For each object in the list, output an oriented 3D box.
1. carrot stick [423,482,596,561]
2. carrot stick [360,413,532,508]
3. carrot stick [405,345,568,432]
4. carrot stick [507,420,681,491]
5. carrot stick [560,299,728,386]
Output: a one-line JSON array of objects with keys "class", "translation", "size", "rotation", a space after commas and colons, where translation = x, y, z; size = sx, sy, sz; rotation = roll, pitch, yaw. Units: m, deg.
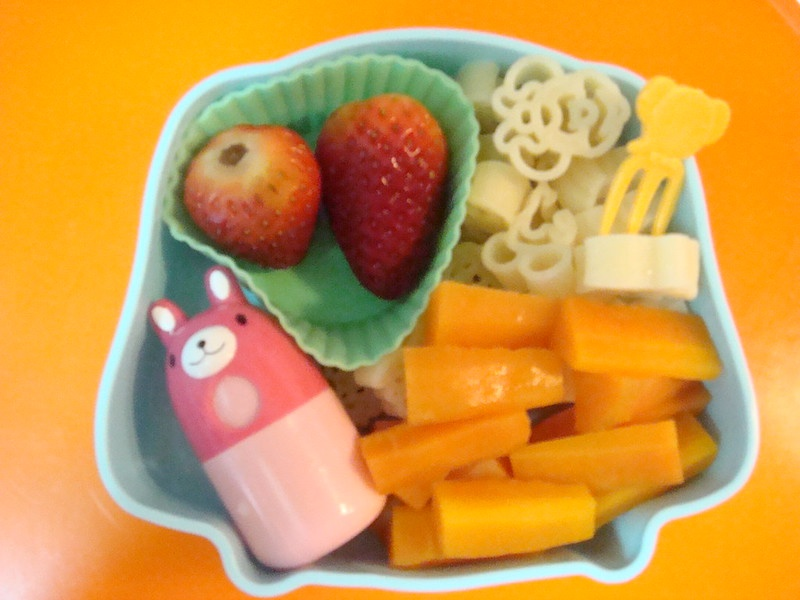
[{"class": "carrot stick", "translation": [0.244, 0.466, 1.892], "size": [0.339, 0.072, 0.160], "rotation": [-1, 78, -2]}, {"class": "carrot stick", "translation": [0.095, 0.323, 1.909], "size": [0.412, 0.173, 0.249], "rotation": [-6, 25, -12]}, {"class": "carrot stick", "translation": [0.183, 0.175, 1.908], "size": [0.340, 0.050, 0.160], "rotation": [-4, 79, -3]}, {"class": "carrot stick", "translation": [0.422, 0.350, 1.902], "size": [0.357, 0.078, 0.131], "rotation": [-6, 78, -3]}, {"class": "carrot stick", "translation": [0.527, 0.089, 1.922], "size": [0.364, 0.082, 0.156], "rotation": [4, 78, -1]}]
